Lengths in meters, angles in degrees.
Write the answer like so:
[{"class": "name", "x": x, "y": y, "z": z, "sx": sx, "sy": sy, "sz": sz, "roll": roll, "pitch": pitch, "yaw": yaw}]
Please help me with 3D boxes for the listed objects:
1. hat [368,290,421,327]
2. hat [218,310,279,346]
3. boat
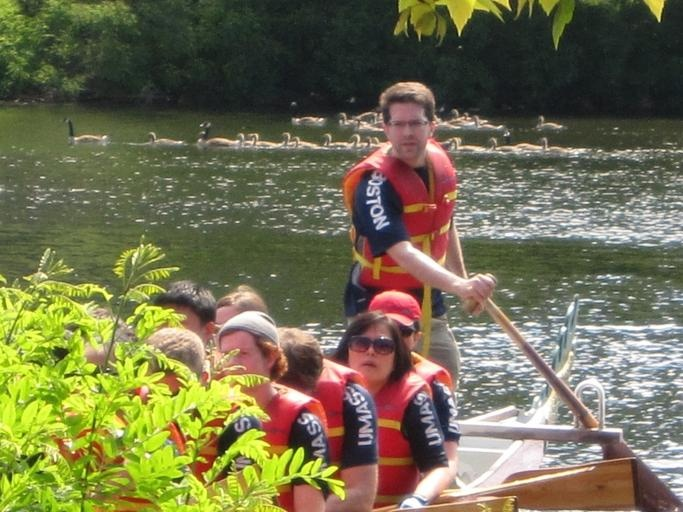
[{"class": "hat", "x": 1.013, "y": 0.965, "z": 27.537, "sx": 1.179, "sy": 0.565, "sz": 0.958, "roll": 5, "pitch": 8, "yaw": 14}, {"class": "hat", "x": -1.682, "y": 1.269, "z": 26.385, "sx": 1.071, "sy": 0.600, "sz": 0.326, "roll": -2, "pitch": 5, "yaw": -1}, {"class": "boat", "x": 3.008, "y": 3.152, "z": 29.139, "sx": 1.505, "sy": 1.719, "sz": 5.358, "roll": 16, "pitch": 39, "yaw": 33}]
